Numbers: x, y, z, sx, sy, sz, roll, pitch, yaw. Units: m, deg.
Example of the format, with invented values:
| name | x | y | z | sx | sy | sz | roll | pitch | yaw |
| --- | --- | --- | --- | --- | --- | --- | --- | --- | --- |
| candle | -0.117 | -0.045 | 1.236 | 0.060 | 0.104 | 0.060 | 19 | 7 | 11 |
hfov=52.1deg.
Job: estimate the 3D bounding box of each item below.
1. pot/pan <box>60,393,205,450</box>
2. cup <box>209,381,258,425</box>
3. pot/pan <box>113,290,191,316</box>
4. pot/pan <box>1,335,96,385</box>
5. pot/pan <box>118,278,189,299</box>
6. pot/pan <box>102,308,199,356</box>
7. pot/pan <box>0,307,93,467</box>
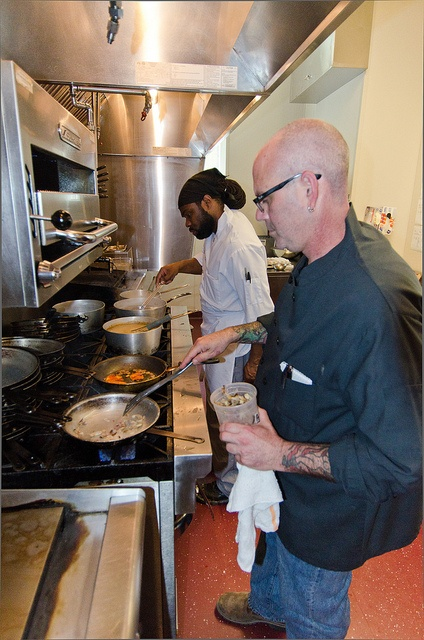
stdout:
| name | x | y | z | sx | sy | sz | roll | pitch | yaw |
| --- | --- | --- | --- | --- | --- | --- | --- | --- | --- |
| pot/pan | -0.227 | 0.263 | 1.107 | 0.222 | 0.027 | 0.146 | 13 | 9 | 15 |
| cup | 0.057 | 0.193 | 1.037 | 0.098 | 0.079 | 0.104 | -8 | 13 | 2 |
| pot/pan | -0.315 | -0.063 | 2.038 | 0.269 | 0.085 | 0.154 | -6 | 18 | -19 |
| pot/pan | -0.545 | 0.116 | 1.433 | 0.254 | 0.049 | 0.164 | 16 | 13 | 16 |
| pot/pan | -0.409 | -0.225 | 2.999 | 0.210 | 0.070 | 0.492 | 12 | 21 | 40 |
| pot/pan | -0.269 | 0.037 | 1.649 | 0.272 | 0.087 | 0.144 | -5 | 13 | -30 |
| pot/pan | -0.497 | 0.156 | 1.289 | 0.190 | 0.077 | 0.640 | -3 | 16 | -10 |
